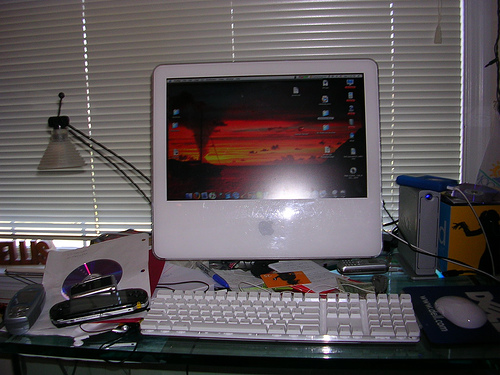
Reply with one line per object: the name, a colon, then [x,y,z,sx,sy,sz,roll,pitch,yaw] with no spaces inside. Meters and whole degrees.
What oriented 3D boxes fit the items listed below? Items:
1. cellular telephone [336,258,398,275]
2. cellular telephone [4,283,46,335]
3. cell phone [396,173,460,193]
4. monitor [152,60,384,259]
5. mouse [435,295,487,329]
cellular telephone: [0.420,0.272,1.538,0.170,0.028,0.084,1,4,-1]
cellular telephone: [-0.672,0.360,1.282,0.087,0.039,0.139,4,28,-14]
cell phone: [0.643,-0.014,1.554,0.141,0.043,0.173,-3,14,-19]
monitor: [0.077,-0.101,1.410,0.801,0.558,0.050,0,-2,1]
mouse: [0.632,0.372,1.294,0.091,0.058,0.118,-7,16,-31]
